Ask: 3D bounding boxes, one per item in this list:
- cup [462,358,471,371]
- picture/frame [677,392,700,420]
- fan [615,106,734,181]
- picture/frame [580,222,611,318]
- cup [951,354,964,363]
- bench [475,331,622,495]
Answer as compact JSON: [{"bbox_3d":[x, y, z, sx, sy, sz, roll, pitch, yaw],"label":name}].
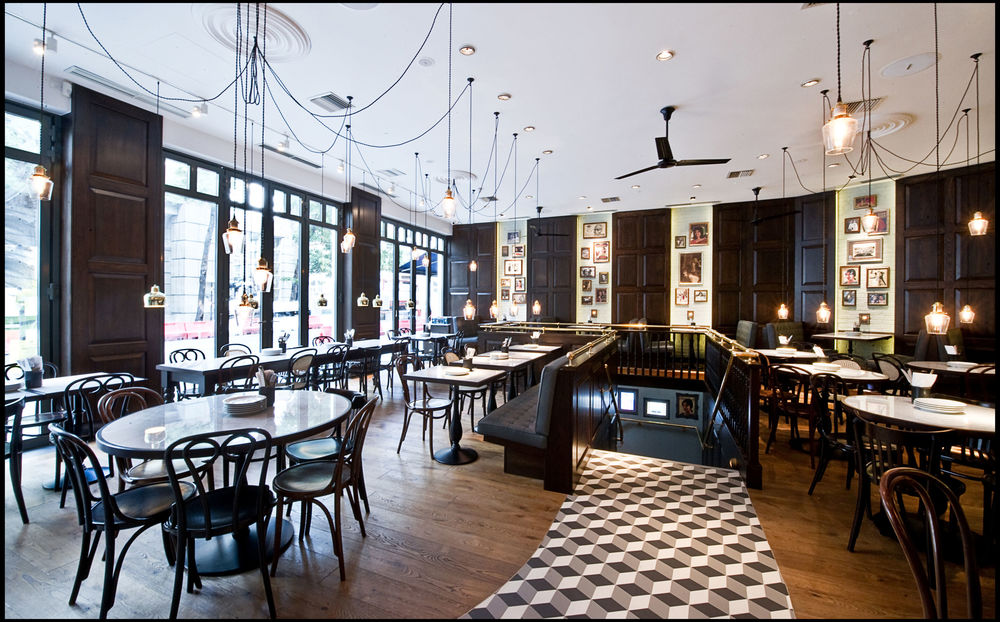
[{"bbox_3d":[-0.479,0.785,9.587,0.148,0.159,0.144,1,3,0],"label":"cup"},{"bbox_3d":[3.611,1.818,12.526,0.581,0.490,0.059,-1,13,34],"label":"picture/frame"},{"bbox_3d":[2.913,-2.802,10.489,1.448,0.983,1.510,3,-10,-8],"label":"fan"},{"bbox_3d":[2.318,-1.062,16.114,0.919,2.016,0.102,-2,-1,31],"label":"picture/frame"},{"bbox_3d":[7.490,0.789,10.757,0.195,0.171,0.102,-1,3,-18],"label":"cup"},{"bbox_3d":[0.883,1.203,10.184,1.389,1.799,3.649,3,8,21],"label":"bench"}]
